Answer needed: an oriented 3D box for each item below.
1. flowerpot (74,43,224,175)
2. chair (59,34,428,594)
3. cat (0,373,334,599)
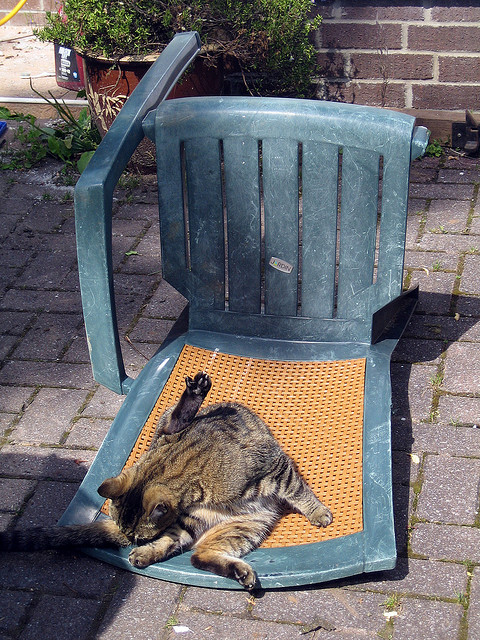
[{"bbox_3d":[-0.583,-1.433,4.625,1.014,0.826,1.014,-2,19,-4],"label":"flowerpot"},{"bbox_3d":[0.053,-0.016,2.580,1.320,1.021,2.042,5,58,16],"label":"chair"},{"bbox_3d":[-0.104,0.492,1.900,0.708,0.221,0.704,-26,32,-19],"label":"cat"}]
